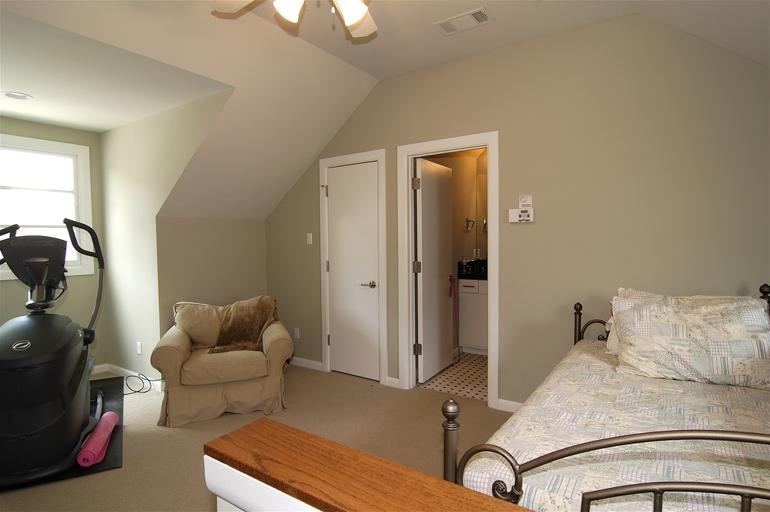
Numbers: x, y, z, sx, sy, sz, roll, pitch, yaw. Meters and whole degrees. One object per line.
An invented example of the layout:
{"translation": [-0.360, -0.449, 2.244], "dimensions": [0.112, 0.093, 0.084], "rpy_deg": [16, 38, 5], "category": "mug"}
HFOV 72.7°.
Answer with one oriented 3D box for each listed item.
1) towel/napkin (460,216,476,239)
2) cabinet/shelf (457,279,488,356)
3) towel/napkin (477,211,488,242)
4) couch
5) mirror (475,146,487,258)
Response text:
{"translation": [1.114, -0.378, 6.929], "dimensions": [0.276, 0.356, 0.194], "rpy_deg": [-2, 2, -40], "category": "towel/napkin"}
{"translation": [1.069, 0.789, 6.591], "dimensions": [0.580, 0.850, 0.575], "rpy_deg": [4, -2, 19], "category": "cabinet/shelf"}
{"translation": [1.280, -0.409, 6.986], "dimensions": [0.116, 0.419, 0.056], "rpy_deg": [1, 4, 21], "category": "towel/napkin"}
{"translation": [-1.593, 0.966, 5.226], "dimensions": [1.252, 0.943, 1.045], "rpy_deg": [-3, 6, -18], "category": "couch"}
{"translation": [1.252, -0.721, 6.994], "dimensions": [0.317, 1.519, 0.051], "rpy_deg": [8, -10, -43], "category": "mirror"}
